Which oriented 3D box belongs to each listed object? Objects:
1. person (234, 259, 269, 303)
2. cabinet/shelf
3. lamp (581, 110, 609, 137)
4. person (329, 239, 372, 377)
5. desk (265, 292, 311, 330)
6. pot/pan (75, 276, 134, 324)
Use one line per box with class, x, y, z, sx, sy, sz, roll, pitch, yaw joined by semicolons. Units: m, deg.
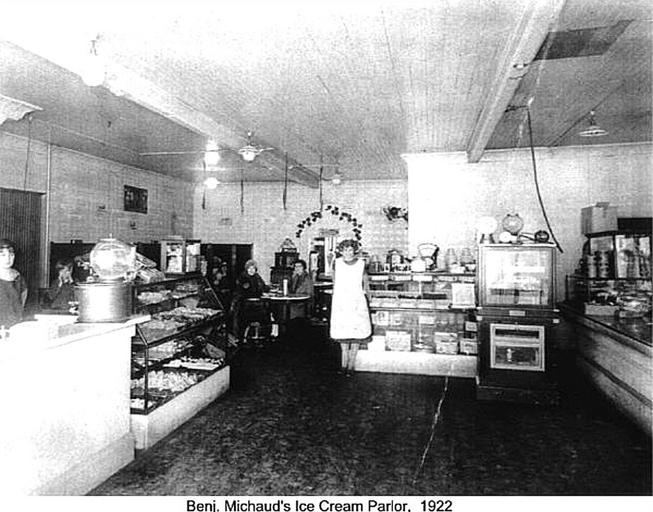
person;-1.263;0.469;9.426;0.629;0.814;0.650;5;8;33
cabinet/shelf;-1.684;1.212;6.243;0.679;1.260;1.866;-1;1;2
lamp;3.814;-1.843;7.868;0.433;0.346;0.412;0;0;4
person;0.350;0.726;7.594;0.578;1.924;0.449;2;15;4
desk;-0.718;1.042;10.453;0.743;0.714;0.755;2;-2;-26
pot/pan;-2.178;0.469;5.388;0.517;0.346;0.492;0;1;1
